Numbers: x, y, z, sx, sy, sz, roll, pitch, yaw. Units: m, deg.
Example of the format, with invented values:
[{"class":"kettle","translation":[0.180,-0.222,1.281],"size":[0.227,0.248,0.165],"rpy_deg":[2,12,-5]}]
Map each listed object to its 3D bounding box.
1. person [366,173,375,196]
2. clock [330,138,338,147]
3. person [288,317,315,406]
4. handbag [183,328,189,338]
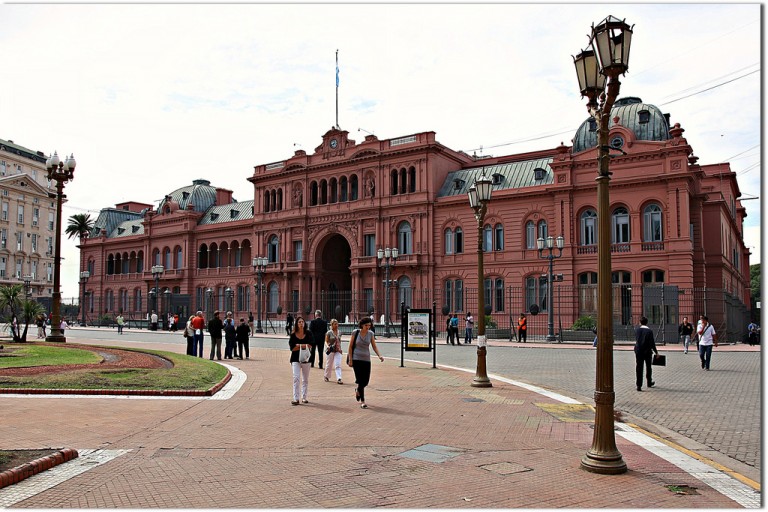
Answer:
[{"class":"person","translation":[-1.068,-5.509,60.238],"size":[0.416,1.917,0.830],"rpy_deg":[3,-8,-26]},{"class":"clock","translation":[-4.128,-9.197,62.662],"size":[0.698,0.652,0.200],"rpy_deg":[1,1,27]},{"class":"person","translation":[-2.353,2.941,21.648],"size":[0.620,2.425,1.088],"rpy_deg":[0,-7,-5]},{"class":"handbag","translation":[-8.187,3.158,31.813],"size":[0.132,0.361,0.500],"rpy_deg":[2,-8,-19]}]
